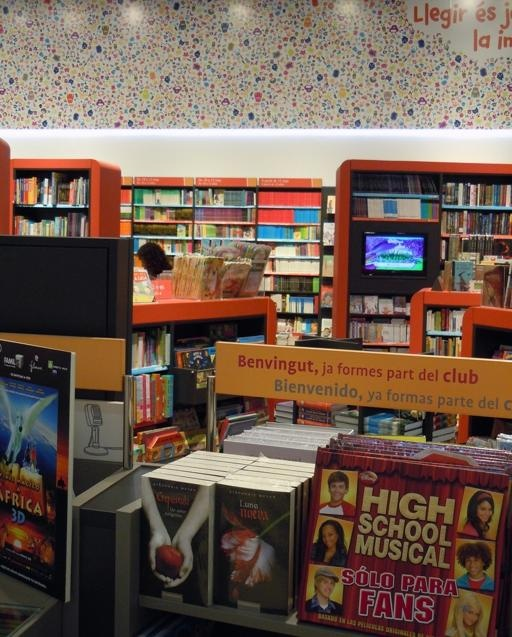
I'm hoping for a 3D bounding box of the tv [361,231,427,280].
[{"bbox_3d":[1.544,-0.722,6.630,0.571,0.363,0.071,1,-2,-4],"label":"tv"}]
